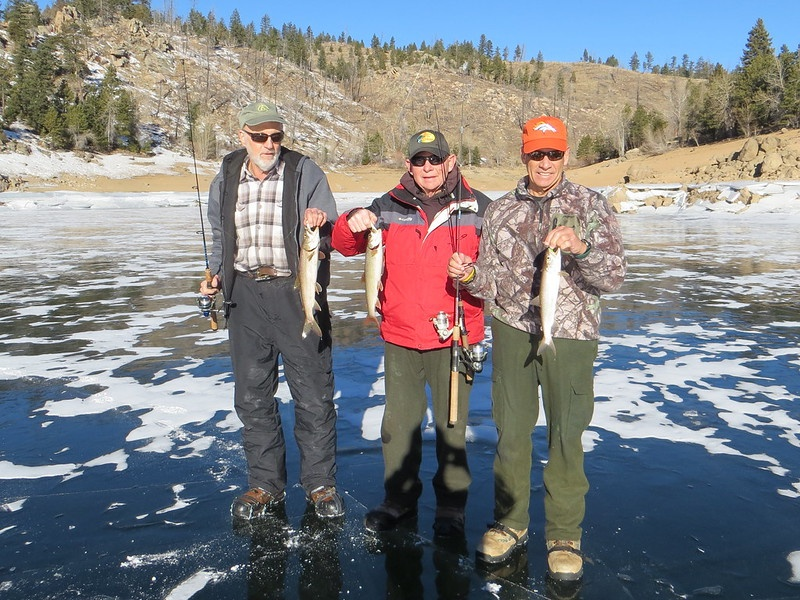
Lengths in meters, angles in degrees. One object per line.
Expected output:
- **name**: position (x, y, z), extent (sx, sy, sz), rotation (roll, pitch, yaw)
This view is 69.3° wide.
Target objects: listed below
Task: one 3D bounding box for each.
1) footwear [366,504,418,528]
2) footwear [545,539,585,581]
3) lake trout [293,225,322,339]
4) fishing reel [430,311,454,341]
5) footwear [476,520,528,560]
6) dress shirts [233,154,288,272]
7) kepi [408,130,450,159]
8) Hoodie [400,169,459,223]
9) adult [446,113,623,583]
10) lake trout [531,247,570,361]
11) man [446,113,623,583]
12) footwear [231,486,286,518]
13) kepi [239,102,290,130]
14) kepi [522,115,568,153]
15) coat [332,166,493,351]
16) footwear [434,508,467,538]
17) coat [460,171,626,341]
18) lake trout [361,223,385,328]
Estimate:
- **footwear**: position (-0.063, 1.556, 4.198), extent (0.352, 0.148, 0.145), rotation (4, -37, -42)
- **footwear**: position (1.080, 1.639, 3.717), extent (0.257, 0.187, 0.230), rotation (0, 14, 2)
- **lake trout**: position (-0.655, -0.118, 4.179), extent (0.170, 0.849, 0.274), rotation (-3, 14, -10)
- **fishing reel**: position (0.287, 0.184, 4.107), extent (0.125, 0.164, 0.091), rotation (-34, 23, -17)
- **footwear**: position (0.689, 1.603, 3.887), extent (0.153, 0.176, 0.394), rotation (-9, -12, 40)
- **dress shirts**: position (-1.038, -0.620, 4.304), extent (0.410, 0.777, 0.256), rotation (1, -2, 9)
- **kepi**: position (0.204, -1.093, 4.088), extent (0.291, 0.187, 0.213), rotation (0, 14, 2)
- **Hoodie**: position (0.241, -0.746, 4.149), extent (0.318, 0.444, 0.193), rotation (-2, 11, 6)
- **adult**: position (0.901, 0.247, 3.825), extent (0.983, 2.840, 0.872), rotation (6, 15, 28)
- **lake trout**: position (0.959, 0.022, 3.705), extent (0.120, 0.726, 0.270), rotation (3, 14, 17)
- **man**: position (0.898, 0.247, 3.825), extent (0.995, 2.840, 0.879), rotation (6, 15, 27)
- **footwear**: position (-1.070, 1.521, 4.373), extent (0.153, 0.159, 0.367), rotation (14, 1, 32)
- **kepi**: position (-1.019, -1.349, 4.222), extent (0.316, 0.185, 0.266), rotation (-5, 14, -15)
- **kepi**: position (0.955, -1.084, 3.805), extent (0.285, 0.244, 0.273), rotation (2, 14, 13)
- **coat**: position (0.123, -0.299, 4.203), extent (1.219, 1.215, 0.625), rotation (2, 11, -15)
- **footwear**: position (0.351, 1.567, 4.086), extent (0.147, 0.088, 0.239), rotation (1, 4, 6)
- **coat**: position (1.014, -0.271, 4.123), extent (1.244, 1.188, 1.024), rotation (1, -2, 31)
- **lake trout**: position (-0.191, -0.166, 4.144), extent (0.154, 0.731, 0.354), rotation (-1, 14, -1)
